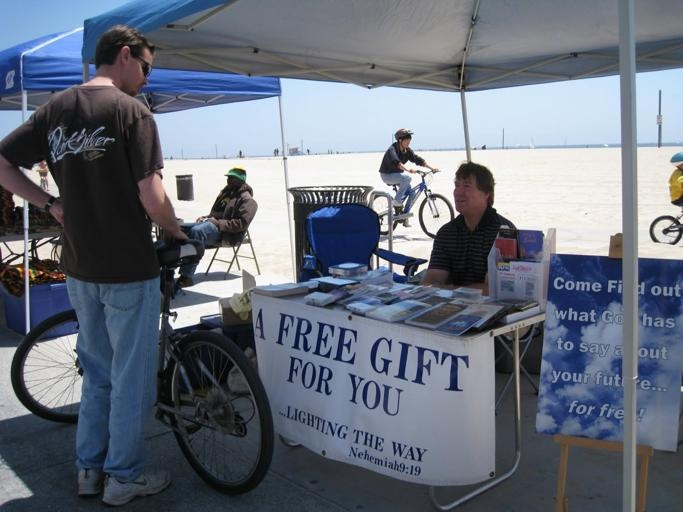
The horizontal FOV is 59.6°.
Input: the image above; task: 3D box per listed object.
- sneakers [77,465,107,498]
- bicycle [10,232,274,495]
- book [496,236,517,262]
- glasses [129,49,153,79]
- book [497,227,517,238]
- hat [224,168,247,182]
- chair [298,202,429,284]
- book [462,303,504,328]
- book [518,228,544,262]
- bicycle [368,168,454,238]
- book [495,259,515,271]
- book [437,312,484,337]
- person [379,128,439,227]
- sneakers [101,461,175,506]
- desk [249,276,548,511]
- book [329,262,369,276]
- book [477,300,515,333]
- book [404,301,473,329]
[{"bbox_3d":[-1.491,1.343,3.570,0.084,0.105,0.222,2,5,-2],"label":"sneakers"},{"bbox_3d":[-1.117,0.708,4.054,1.041,1.424,2.400,-7,-2,-28],"label":"bicycle"},{"bbox_3d":[0.983,-0.038,3.573,0.133,0.103,0.016,-2,10,22],"label":"book"},{"bbox_3d":[-1.139,-1.101,3.421,0.030,0.108,0.101,-2,2,22],"label":"glasses"},{"bbox_3d":[1.029,-0.135,3.660,0.075,0.050,0.078,1,0,40],"label":"book"},{"bbox_3d":[-1.447,-1.128,8.242,0.301,0.164,0.206,14,3,-5],"label":"hat"},{"bbox_3d":[0.116,-0.184,5.801,0.824,1.115,0.851,-7,6,-25],"label":"chair"},{"bbox_3d":[0.770,0.316,3.248,0.129,0.032,0.132,0,19,43],"label":"book"},{"bbox_3d":[1.119,-0.064,3.551,0.175,0.181,0.044,7,9,33],"label":"book"},{"bbox_3d":[1.302,-1.020,11.691,1.848,1.196,0.898,3,6,31],"label":"bicycle"},{"bbox_3d":[0.965,0.057,3.553,0.052,0.069,0.093,7,-8,-40],"label":"book"},{"bbox_3d":[0.633,0.360,3.157,0.154,0.056,0.260,11,17,43],"label":"book"},{"bbox_3d":[1.265,-1.479,11.218,1.160,1.828,1.182,-1,11,6],"label":"person"},{"bbox_3d":[-1.204,1.351,3.607,0.147,0.198,0.423,8,13,43],"label":"sneakers"},{"bbox_3d":[0.470,0.393,3.618,1.913,1.056,1.111,7,12,40],"label":"desk"},{"bbox_3d":[0.046,0.090,4.077,0.209,0.066,0.234,11,17,42],"label":"book"},{"bbox_3d":[0.839,0.327,3.234,0.167,0.040,0.153,-30,13,-36],"label":"book"},{"bbox_3d":[0.512,0.329,3.268,0.111,0.010,0.278,14,23,33],"label":"book"}]
